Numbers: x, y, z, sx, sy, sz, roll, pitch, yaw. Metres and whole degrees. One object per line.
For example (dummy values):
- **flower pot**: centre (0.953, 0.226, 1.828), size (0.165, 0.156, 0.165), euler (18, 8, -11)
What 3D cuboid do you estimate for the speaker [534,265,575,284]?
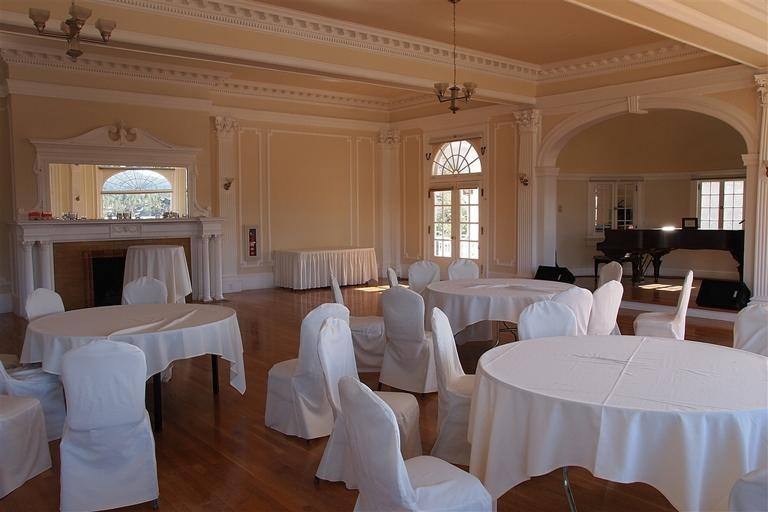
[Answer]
- **speaker**: centre (3.111, 0.348, 9.497), size (0.449, 0.378, 0.637), euler (-7, 12, -30)

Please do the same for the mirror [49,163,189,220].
- **mirror**: centre (-4.716, -1.150, 9.295), size (2.125, 0.999, 0.299), euler (-8, 15, -30)

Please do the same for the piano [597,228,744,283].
- **piano**: centre (5.120, -0.243, 9.330), size (1.748, 0.879, 1.589), euler (2, 4, 33)

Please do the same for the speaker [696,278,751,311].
- **speaker**: centre (5.329, 0.589, 8.154), size (0.535, 0.393, 0.501), euler (2, 33, 45)

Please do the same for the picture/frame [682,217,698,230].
- **picture/frame**: centre (6.220, -0.652, 10.581), size (0.377, 0.247, 0.380), euler (2, 9, 31)
